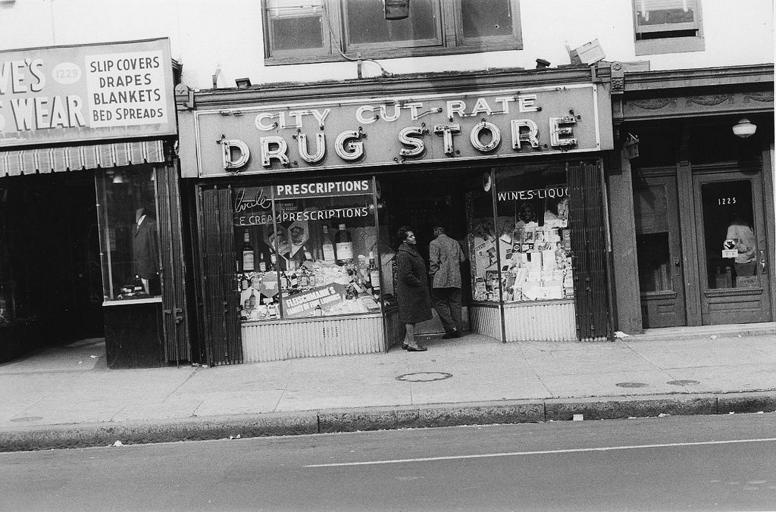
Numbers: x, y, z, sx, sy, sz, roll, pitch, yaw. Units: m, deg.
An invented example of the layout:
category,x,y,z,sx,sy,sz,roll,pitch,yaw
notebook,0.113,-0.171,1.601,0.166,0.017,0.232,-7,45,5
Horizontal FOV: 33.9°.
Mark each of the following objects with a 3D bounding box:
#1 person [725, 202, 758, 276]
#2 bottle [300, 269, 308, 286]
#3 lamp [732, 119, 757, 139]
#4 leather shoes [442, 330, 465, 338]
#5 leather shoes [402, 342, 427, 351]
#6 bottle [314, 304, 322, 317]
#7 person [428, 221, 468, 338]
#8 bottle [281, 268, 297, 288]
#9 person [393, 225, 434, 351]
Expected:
category,x,y,z,sx,sy,sz,roll,pitch,yaw
person,7.166,-0.300,25.952,0.609,1.487,0.186,-4,3,11
bottle,-1.648,0.453,25.374,0.181,0.317,0.053,-5,3,-16
lamp,7.081,-2.521,25.365,0.421,0.366,0.398,-1,-1,-4
leather shoes,1.347,1.609,26.011,0.431,0.163,0.149,1,0,-7
leather shoes,0.534,1.789,25.050,0.468,0.149,0.169,-2,1,2
bottle,-1.351,1.096,25.286,0.185,0.306,0.185,-2,-2,0
person,1.198,0.558,25.834,0.661,2.256,0.479,-5,3,-6
bottle,-1.937,0.474,25.335,0.328,0.367,0.068,-4,3,-4
person,0.496,0.652,25.166,0.585,2.434,0.628,-4,3,16
